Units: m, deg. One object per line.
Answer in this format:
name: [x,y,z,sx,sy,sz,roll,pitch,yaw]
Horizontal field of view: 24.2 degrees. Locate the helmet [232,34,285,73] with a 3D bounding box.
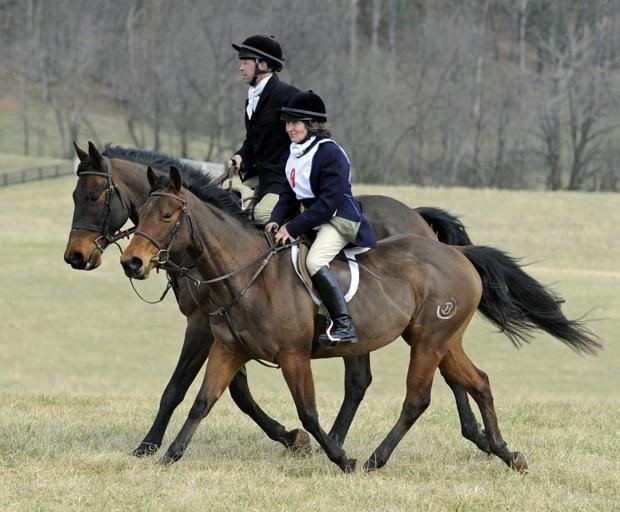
helmet: [-0.657,-2.610,18.352,0.538,0.297,0.429,12,14,-14]

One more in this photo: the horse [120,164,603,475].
horse: [0.796,0.924,18.060,5.979,3.945,1.382,1,8,-14]

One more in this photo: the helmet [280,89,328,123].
helmet: [-0.075,-1.861,17.580,0.579,0.413,0.421,5,6,-5]
